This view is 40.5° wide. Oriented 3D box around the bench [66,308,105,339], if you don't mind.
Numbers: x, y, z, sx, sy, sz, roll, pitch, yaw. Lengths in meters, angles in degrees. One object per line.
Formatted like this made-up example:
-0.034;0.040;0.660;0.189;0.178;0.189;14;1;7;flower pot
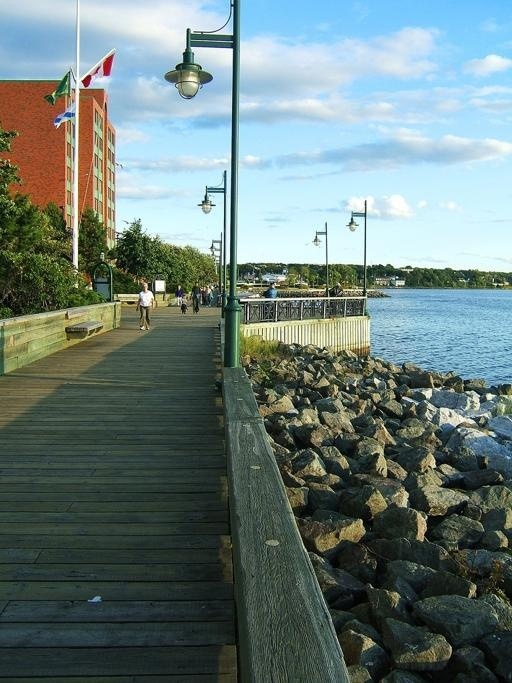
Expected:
-3.833;-0.327;15.318;0.613;0.563;1.903;9;3;-10;bench
